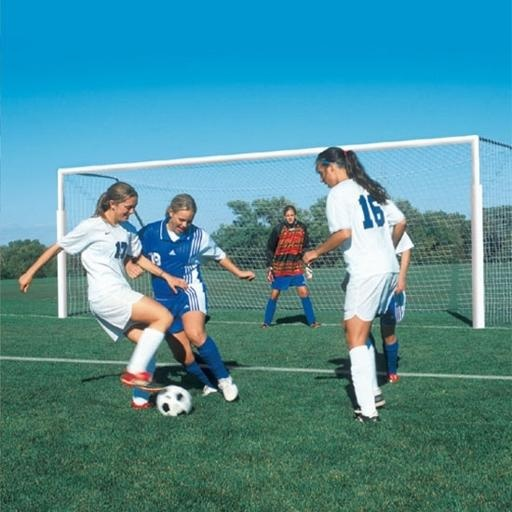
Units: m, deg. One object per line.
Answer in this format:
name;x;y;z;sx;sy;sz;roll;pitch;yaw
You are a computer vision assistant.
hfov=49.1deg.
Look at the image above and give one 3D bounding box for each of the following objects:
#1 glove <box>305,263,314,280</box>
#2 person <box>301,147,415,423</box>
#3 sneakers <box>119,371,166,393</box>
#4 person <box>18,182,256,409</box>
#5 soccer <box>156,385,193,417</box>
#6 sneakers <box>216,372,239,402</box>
glove;0.720;0.221;7.441;0.099;0.228;0.182;-1;6;-38
person;0.773;0.173;4.314;0.634;2.032;0.690;1;4;23
sneakers;-0.834;0.914;4.128;0.365;0.141;0.122;15;4;-10
person;-0.988;0.320;4.381;1.538;1.794;0.834;-2;4;-23
soccer;-0.610;1.113;4.271;0.266;0.213;0.234;12;-39;-5
sneakers;-0.231;1.085;4.561;0.099;0.112;0.267;-37;12;-4
